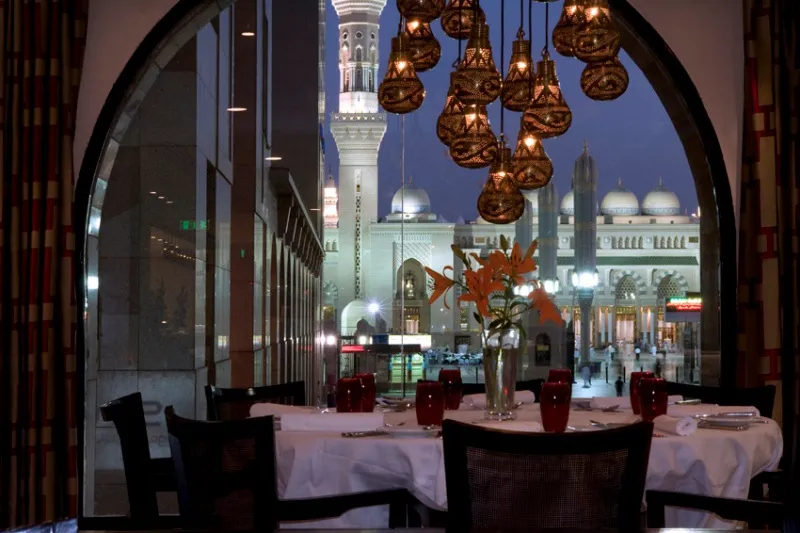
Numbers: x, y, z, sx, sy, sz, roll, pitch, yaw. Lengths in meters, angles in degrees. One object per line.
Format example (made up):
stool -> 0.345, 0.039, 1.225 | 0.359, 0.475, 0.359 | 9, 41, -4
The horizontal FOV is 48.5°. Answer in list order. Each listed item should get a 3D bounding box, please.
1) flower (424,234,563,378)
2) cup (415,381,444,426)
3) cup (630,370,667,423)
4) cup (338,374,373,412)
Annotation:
flower -> 0.486, 0.145, 4.743 | 0.792, 0.878, 0.863 | 5, -5, -3
cup -> 0.152, 0.674, 4.489 | 0.182, 0.271, 0.187 | -3, 1, 0
cup -> 1.262, 0.649, 4.504 | 0.202, 0.307, 0.216 | -4, 0, 0
cup -> -0.227, 0.646, 4.590 | 0.175, 0.175, 0.179 | -1, -4, 0
